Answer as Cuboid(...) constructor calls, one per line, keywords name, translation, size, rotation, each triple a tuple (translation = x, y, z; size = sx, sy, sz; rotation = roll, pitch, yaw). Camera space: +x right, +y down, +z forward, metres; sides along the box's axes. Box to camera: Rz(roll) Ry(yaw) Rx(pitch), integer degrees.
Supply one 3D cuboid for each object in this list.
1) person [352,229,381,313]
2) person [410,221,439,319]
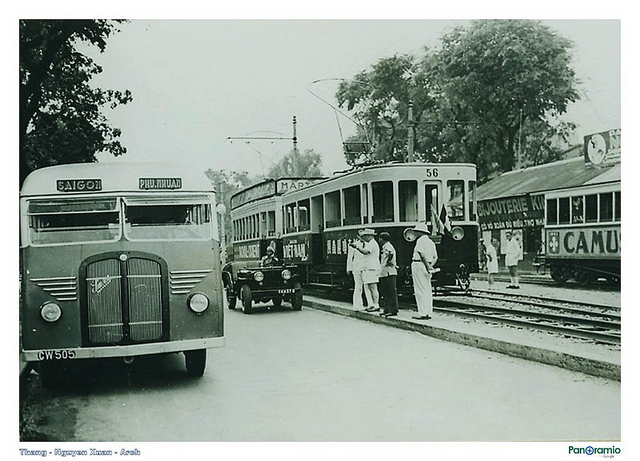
Cuboid(name="person", translation=(1.213, 1.042, 17.171), size=(0.593, 2.104, 0.673), rotation=(1, 4, -8))
Cuboid(name="person", translation=(2.412, 0.975, 15.663), size=(0.557, 2.270, 0.653), rotation=(1, 8, 16))
